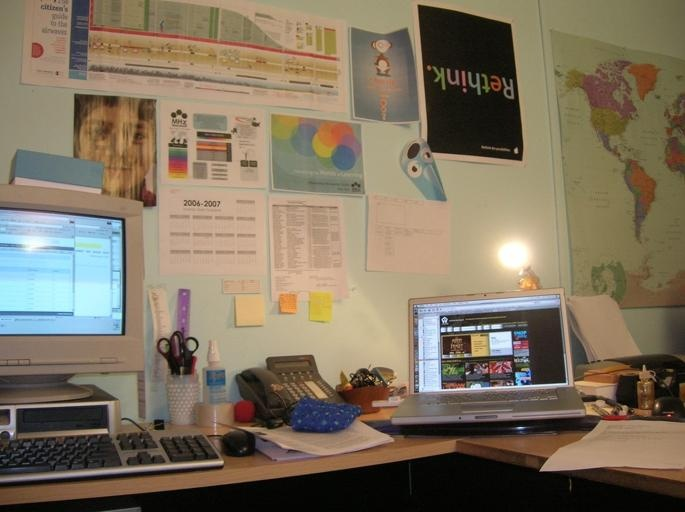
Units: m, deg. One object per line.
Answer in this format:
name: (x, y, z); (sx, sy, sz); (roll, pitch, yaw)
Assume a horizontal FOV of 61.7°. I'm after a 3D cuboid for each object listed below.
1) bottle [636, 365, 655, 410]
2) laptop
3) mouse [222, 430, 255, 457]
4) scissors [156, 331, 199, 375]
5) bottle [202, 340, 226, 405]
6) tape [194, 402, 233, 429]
bottle: (0.916, 0.394, 1.733); (0.051, 0.122, 0.176); (-3, -5, 28)
laptop: (0.421, 0.282, 1.644); (0.450, 0.275, 0.395); (-3, -5, 9)
mouse: (-0.249, 0.441, 1.360); (0.085, 0.053, 0.081); (-1, -5, -1)
scissors: (-0.509, 0.297, 1.756); (0.143, 0.186, 0.017); (-3, -1, -23)
bottle: (-0.381, 0.345, 1.724); (0.064, 0.182, 0.125); (1, -5, -15)
tape: (-0.372, 0.443, 1.644); (0.081, 0.045, 0.079); (2, 0, -31)
